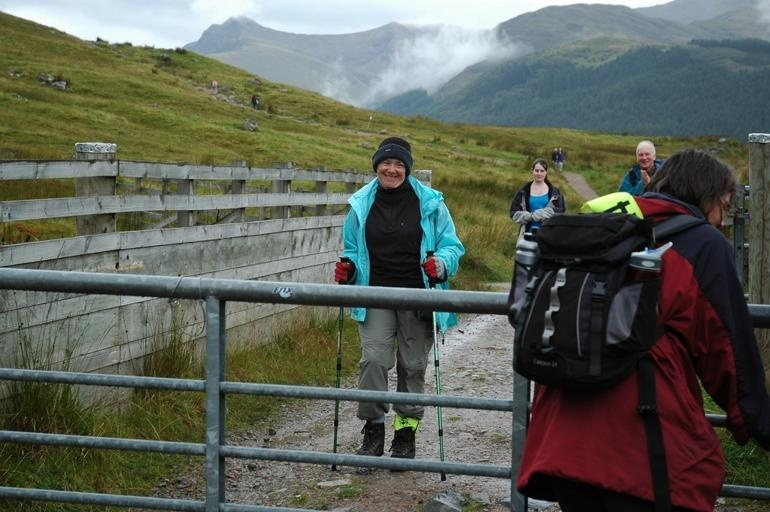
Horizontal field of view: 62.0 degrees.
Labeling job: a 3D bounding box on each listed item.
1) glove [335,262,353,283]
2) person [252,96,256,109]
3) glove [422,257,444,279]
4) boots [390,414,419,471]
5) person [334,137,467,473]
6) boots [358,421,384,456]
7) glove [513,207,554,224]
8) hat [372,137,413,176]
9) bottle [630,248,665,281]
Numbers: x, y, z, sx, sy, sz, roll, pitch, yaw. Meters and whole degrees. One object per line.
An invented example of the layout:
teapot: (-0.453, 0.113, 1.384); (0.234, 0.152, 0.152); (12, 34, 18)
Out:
glove: (-0.370, 0.148, 5.732); (0.168, 0.201, 0.142); (3, 7, 3)
person: (-13.019, -15.320, 63.698); (0.516, 1.290, 2.212); (1, 8, -13)
glove: (0.422, 0.097, 5.531); (0.086, 0.156, 0.184); (-22, 10, -22)
boots: (0.134, 1.663, 5.621); (0.205, 0.461, 0.634); (8, -4, 7)
person: (0.099, 0.425, 5.774); (1.093, 2.991, 0.959); (1, 6, -6)
boots: (-0.123, 1.636, 5.704); (0.217, 0.340, 0.409); (2, 7, -2)
glove: (2.281, -0.631, 9.827); (0.453, 0.205, 0.469); (-2, 7, 1)
hat: (0.082, -0.970, 5.993); (0.336, 0.332, 0.356); (7, -12, 3)
bottle: (1.289, 0.041, 3.180); (0.163, 0.151, 0.138); (2, 0, 18)
